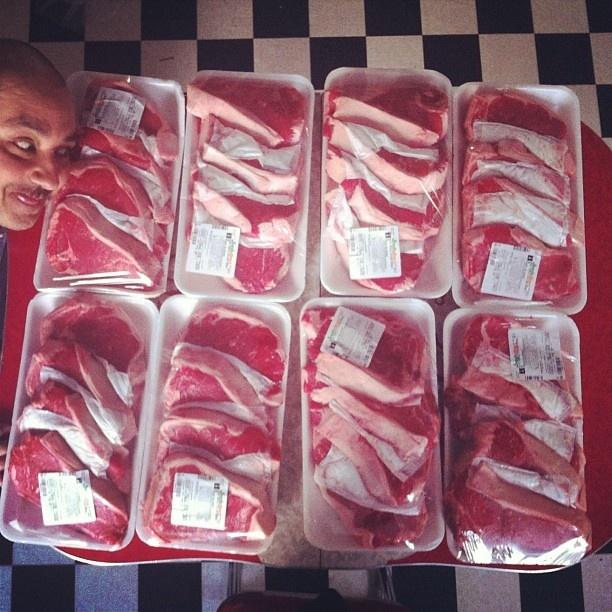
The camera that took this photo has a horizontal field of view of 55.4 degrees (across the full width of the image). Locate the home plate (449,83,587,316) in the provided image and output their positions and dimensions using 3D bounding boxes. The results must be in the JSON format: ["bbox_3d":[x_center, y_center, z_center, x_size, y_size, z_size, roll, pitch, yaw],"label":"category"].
[{"bbox_3d":[0.720,-0.384,1.949,0.388,0.181,0.866,2,87,-3],"label":"home plate"}]

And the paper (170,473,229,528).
[{"bbox_3d":[-0.315,0.584,1.757,0.164,0.066,0.155,6,84,2],"label":"paper"}]

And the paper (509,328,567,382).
[{"bbox_3d":[0.741,0.164,1.885,0.108,0.029,0.141,1,79,1],"label":"paper"}]

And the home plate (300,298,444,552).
[{"bbox_3d":[0.196,0.409,1.810,0.436,0.138,0.952,6,110,27],"label":"home plate"}]

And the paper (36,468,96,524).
[{"bbox_3d":[-0.729,0.584,1.780,0.163,0.034,0.157,-5,84,1],"label":"paper"}]

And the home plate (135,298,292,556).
[{"bbox_3d":[-0.291,0.337,1.900,0.381,0.149,0.835,7,97,-12],"label":"home plate"}]

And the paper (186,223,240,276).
[{"bbox_3d":[-0.303,-0.180,1.939,0.164,0.083,0.163,7,83,2],"label":"paper"}]

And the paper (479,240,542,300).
[{"bbox_3d":[0.677,-0.112,1.917,0.177,0.050,0.168,12,84,3],"label":"paper"}]

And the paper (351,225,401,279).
[{"bbox_3d":[0.225,-0.172,1.923,0.169,0.054,0.165,-2,83,1],"label":"paper"}]
